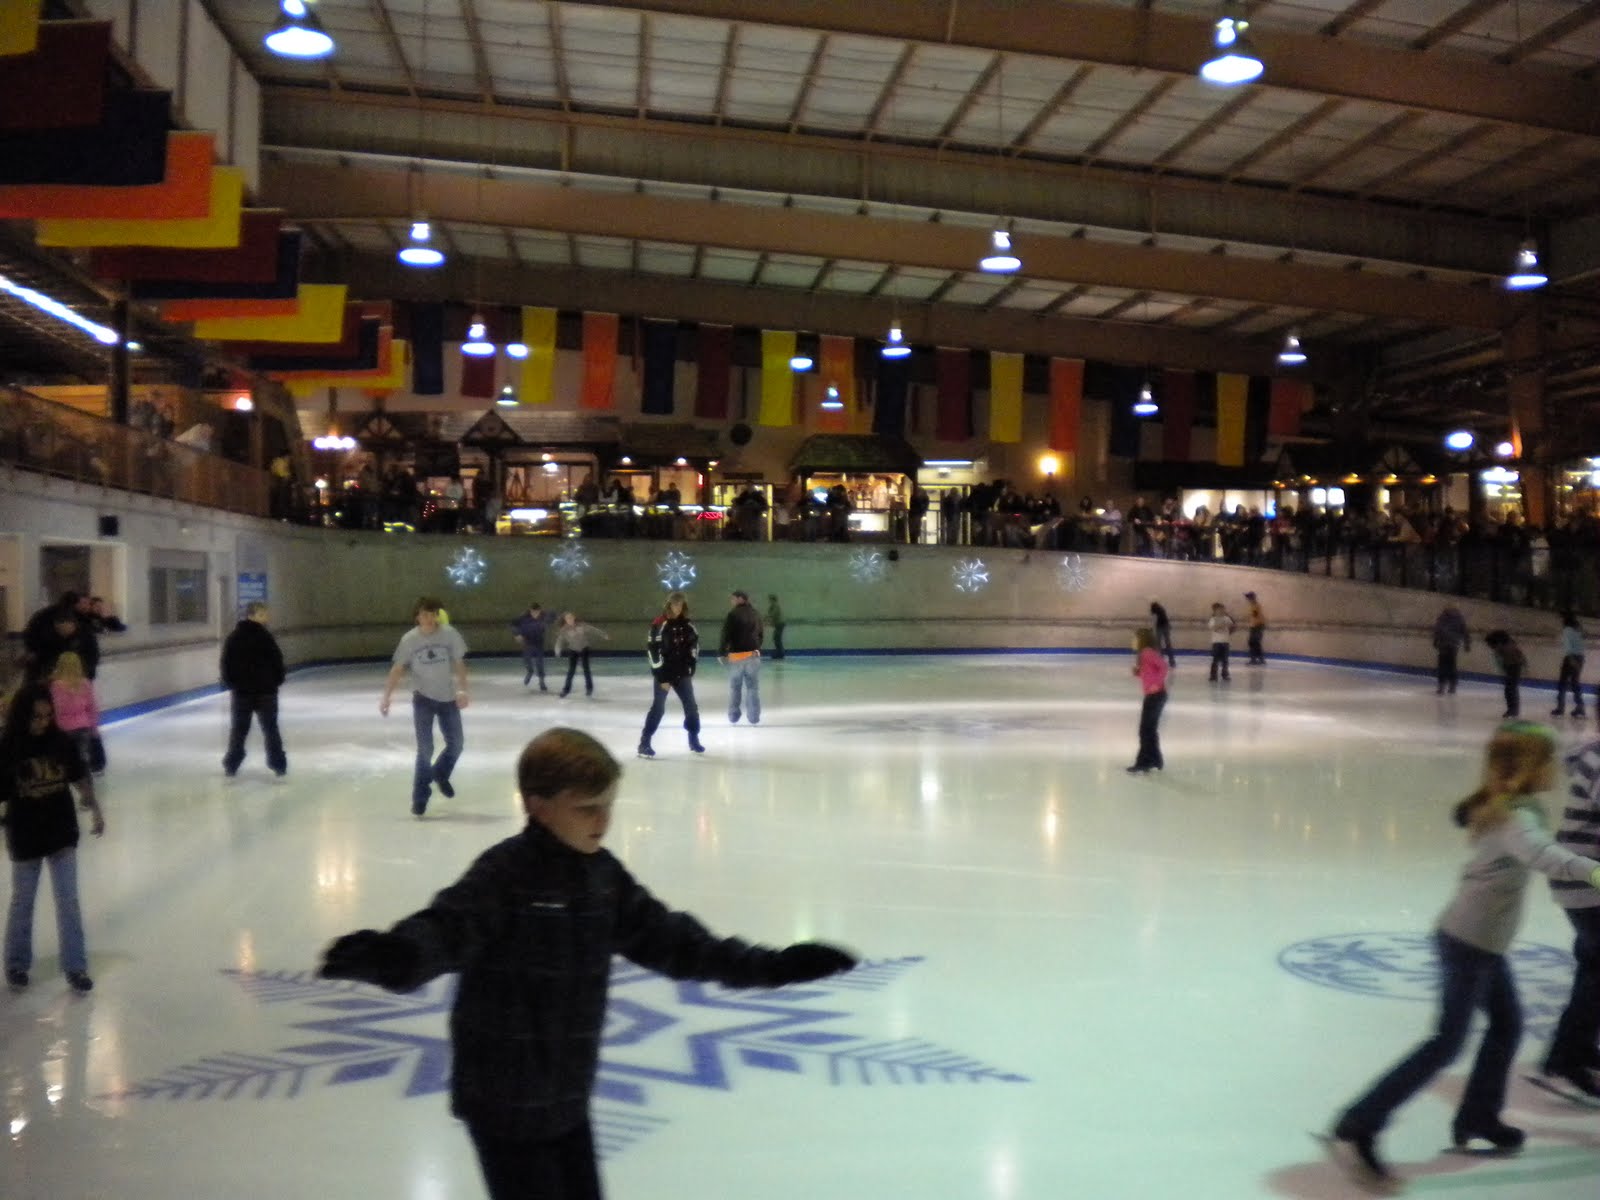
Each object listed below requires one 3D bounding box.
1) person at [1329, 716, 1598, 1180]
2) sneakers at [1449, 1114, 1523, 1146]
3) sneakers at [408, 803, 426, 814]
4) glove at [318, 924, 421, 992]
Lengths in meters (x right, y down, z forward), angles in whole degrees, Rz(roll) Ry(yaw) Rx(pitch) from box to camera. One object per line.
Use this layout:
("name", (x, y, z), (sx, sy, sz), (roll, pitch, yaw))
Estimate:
("person", (3.486, 1.792, 7.868), (1.301, 2.296, 0.456), (-3, 11, -17))
("sneakers", (3.632, 2.801, 8.040), (0.406, 0.178, 0.149), (-5, -3, 3))
("sneakers", (-3.332, 1.795, 13.199), (0.116, 0.162, 0.092), (-2, -4, 3))
("glove", (-1.765, 1.477, 6.262), (0.246, 0.147, 0.322), (5, -4, -25))
